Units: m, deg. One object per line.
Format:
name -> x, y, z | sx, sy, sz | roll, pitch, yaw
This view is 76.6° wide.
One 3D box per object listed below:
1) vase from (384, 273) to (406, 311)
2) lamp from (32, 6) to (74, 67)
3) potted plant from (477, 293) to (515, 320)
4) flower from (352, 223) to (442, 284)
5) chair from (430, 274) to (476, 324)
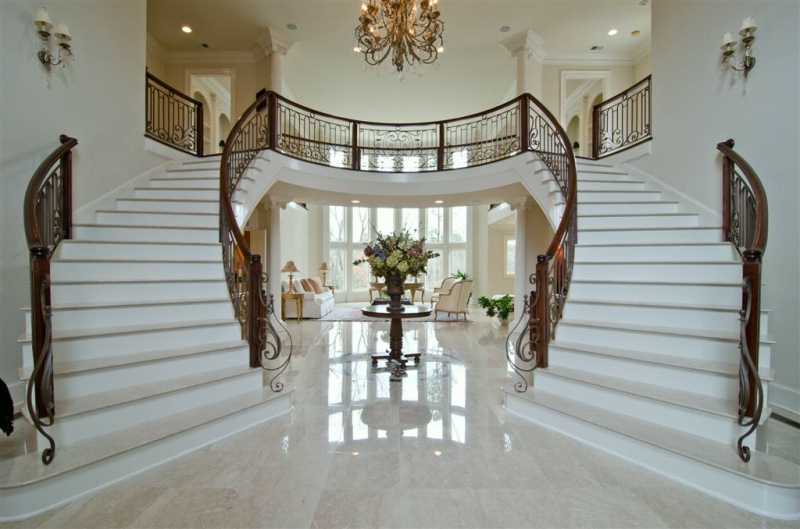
vase -> -0.055, 0.451, 7.858 | 0.402, 0.588, 0.404 | -1, -1, -29
lamp -> -4.507, -2.927, 6.744 | 0.267, 0.737, 0.573 | 3, 4, 19
potted plant -> 2.271, 0.991, 11.680 | 0.633, 0.394, 0.672 | -5, 1, 5
flower -> -0.078, -0.155, 7.957 | 1.120, 0.859, 1.161 | 9, 9, 31
chair -> 1.332, 0.881, 12.633 | 0.974, 1.335, 0.926 | 3, 4, 28
